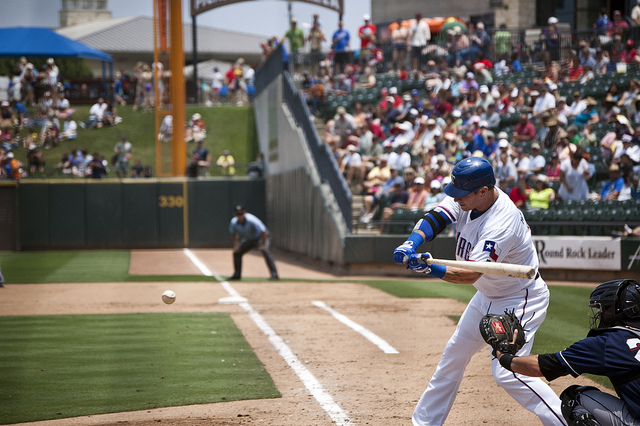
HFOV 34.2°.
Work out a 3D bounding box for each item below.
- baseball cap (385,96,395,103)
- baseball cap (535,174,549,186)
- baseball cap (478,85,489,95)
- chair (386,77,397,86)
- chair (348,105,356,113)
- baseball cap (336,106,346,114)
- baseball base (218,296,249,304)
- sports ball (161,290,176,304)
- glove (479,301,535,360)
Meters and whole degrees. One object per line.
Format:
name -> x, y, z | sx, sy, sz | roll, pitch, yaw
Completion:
baseball cap -> 2.119, -3.531, 32.274 | 0.301, 0.195, 0.281 | 5, 8, 40
baseball cap -> 5.950, -0.892, 28.105 | 0.364, 0.301, 0.355 | 1, 6, 11
baseball cap -> 4.831, -3.689, 31.018 | 0.224, 0.322, 0.245 | 31, 22, -4
chair -> 2.300, -4.321, 34.181 | 0.282, 0.284, 0.278 | 1, -7, -43
chair -> 0.964, -3.353, 33.395 | 0.204, 0.239, 0.202 | -1, 6, -7
baseball cap -> 0.605, -3.185, 32.129 | 0.259, 0.171, 0.298 | 3, 8, 11
baseball base -> -2.111, 2.087, 24.988 | 0.686, 0.062, 0.652 | -1, 6, -5
sports ball -> -3.501, 1.931, 23.990 | 0.286, 0.300, 0.291 | 7, 0, 0
glove -> 3.302, 2.155, 18.776 | 0.826, 0.650, 0.389 | -14, -18, -33
